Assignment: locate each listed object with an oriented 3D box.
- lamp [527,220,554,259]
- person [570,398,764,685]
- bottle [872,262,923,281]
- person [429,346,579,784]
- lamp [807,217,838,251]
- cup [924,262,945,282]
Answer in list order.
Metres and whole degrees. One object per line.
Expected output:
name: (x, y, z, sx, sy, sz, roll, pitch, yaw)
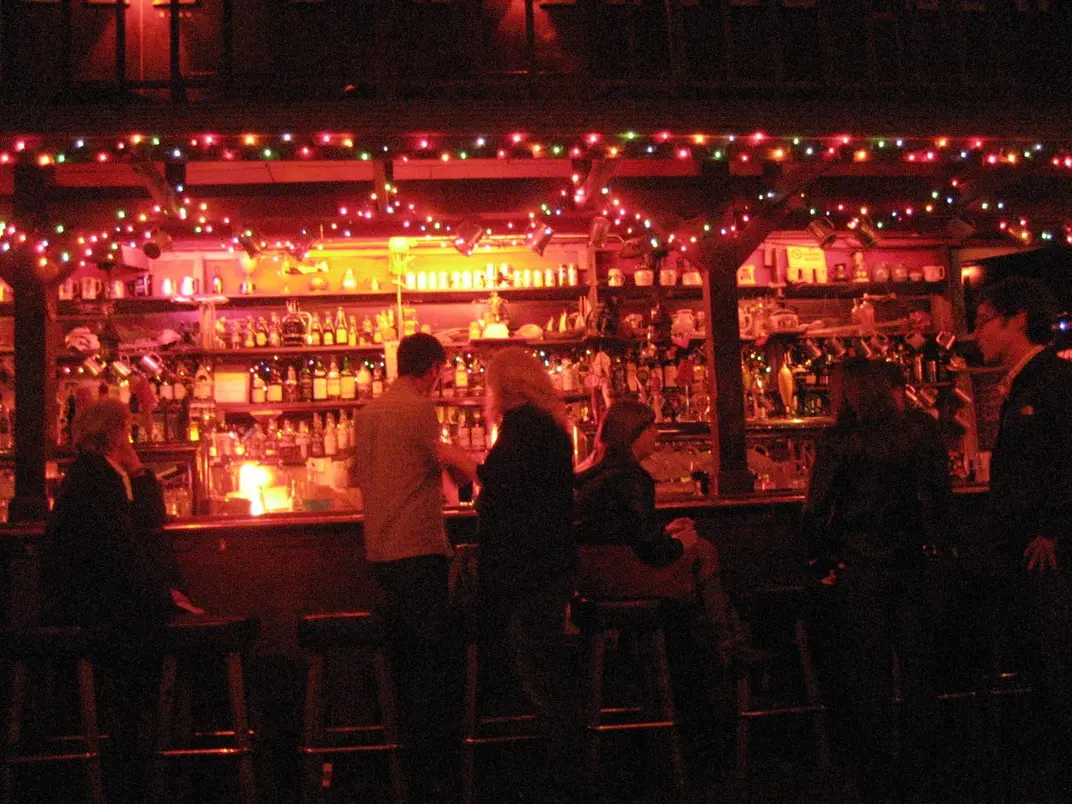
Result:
lamp: (0.057, -1.245, 8.413, 0.185, 0.194, 0.283, 12, -36, -20)
person: (0.561, 0.608, 5.595, 0.804, 0.879, 0.427, -3, -1, -12)
bottle: (3.103, -1.115, 9.898, 0.347, 0.136, 0.200, -1, 0, 8)
person: (-0.043, 0.741, 5.266, 0.457, 1.996, 0.250, -3, -2, 1)
lamp: (2.046, -1.217, 8.163, 0.212, 0.149, 0.139, -5, -38, -39)
cup: (3.431, -1.126, 9.911, 0.166, 0.121, 0.130, 3, -6, 15)
